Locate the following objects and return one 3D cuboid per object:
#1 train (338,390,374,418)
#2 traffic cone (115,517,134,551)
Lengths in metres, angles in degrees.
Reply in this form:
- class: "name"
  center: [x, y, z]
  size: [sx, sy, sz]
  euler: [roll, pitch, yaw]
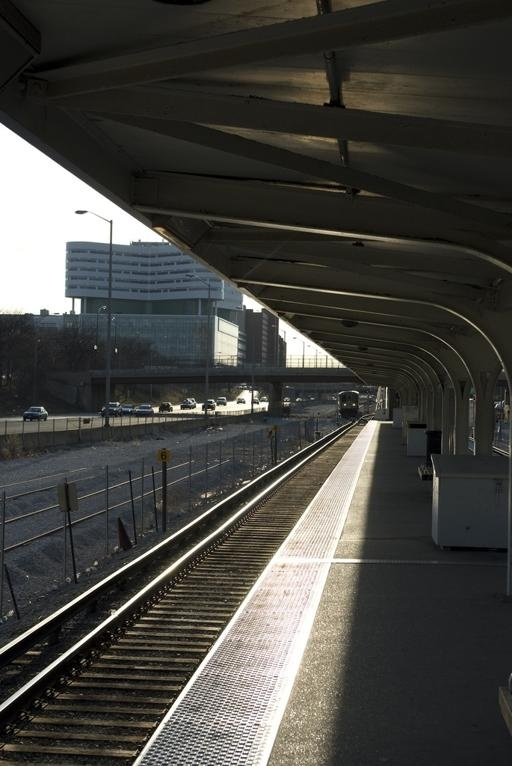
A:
- class: "train"
  center: [18.725, 3.975, 121.062]
  size: [3.915, 6.394, 24.000]
  euler: [-2, -2, 10]
- class: "traffic cone"
  center: [-3.875, 4.487, 19.026]
  size: [0.399, 1.060, 1.204]
  euler: [-1, 2, -12]
